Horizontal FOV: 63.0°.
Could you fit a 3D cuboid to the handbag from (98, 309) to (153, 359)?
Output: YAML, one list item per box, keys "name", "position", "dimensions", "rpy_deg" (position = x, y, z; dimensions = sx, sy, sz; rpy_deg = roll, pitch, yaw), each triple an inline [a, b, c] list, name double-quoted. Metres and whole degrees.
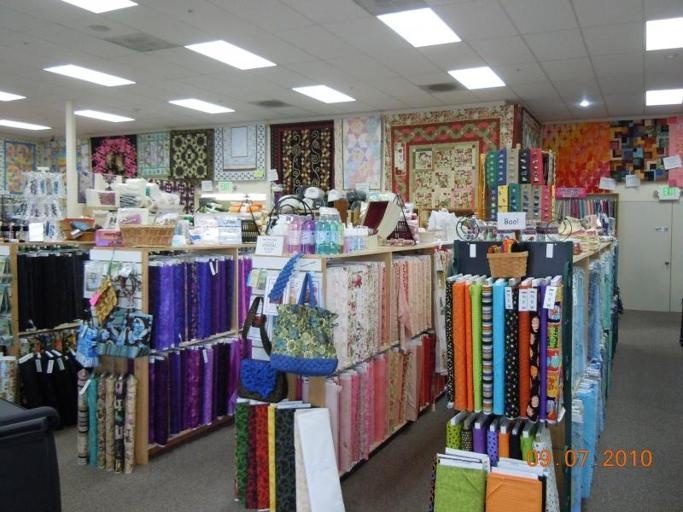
- name: "handbag"
  position: [-1.909, 0.656, 4.803]
  dimensions: [0.421, 0.420, 0.143]
  rpy_deg: [7, -1, -13]

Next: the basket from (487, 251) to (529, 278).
- name: "basket"
  position: [1.095, 0.059, 3.646]
  dimensions: [0.204, 0.143, 0.169]
  rpy_deg: [0, -2, 19]

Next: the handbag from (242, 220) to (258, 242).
- name: "handbag"
  position: [-0.995, -0.261, 6.007]
  dimensions: [0.059, 0.285, 0.248]
  rpy_deg: [-7, -4, 44]

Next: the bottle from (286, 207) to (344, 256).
- name: "bottle"
  position: [-0.214, -0.169, 4.288]
  dimensions: [0.337, 0.298, 0.354]
  rpy_deg: [0, 0, 34]

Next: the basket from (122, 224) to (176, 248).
- name: "basket"
  position: [-1.718, -0.181, 4.924]
  dimensions: [0.288, 0.130, 0.254]
  rpy_deg: [-1, -1, -1]

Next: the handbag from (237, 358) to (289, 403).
- name: "handbag"
  position: [-0.612, 0.939, 4.189]
  dimensions: [0.364, 0.318, 0.195]
  rpy_deg: [1, -2, 19]

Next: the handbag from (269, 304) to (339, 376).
- name: "handbag"
  position: [-0.275, 0.581, 3.854]
  dimensions: [0.436, 0.481, 0.185]
  rpy_deg: [5, -4, -5]

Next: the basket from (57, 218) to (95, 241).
- name: "basket"
  position: [-3.064, -0.341, 6.474]
  dimensions: [0.301, 0.156, 0.379]
  rpy_deg: [0, 4, -8]
